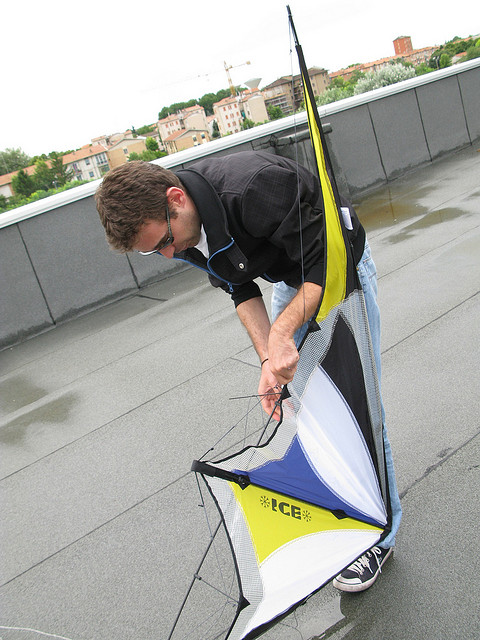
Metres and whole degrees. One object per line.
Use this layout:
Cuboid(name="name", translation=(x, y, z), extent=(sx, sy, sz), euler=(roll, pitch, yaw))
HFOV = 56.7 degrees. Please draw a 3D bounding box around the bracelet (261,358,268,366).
Cuboid(name="bracelet", translation=(0.091, 0.154, 1.619), extent=(0.030, 0.007, 0.028), euler=(-38, 2, -41))
